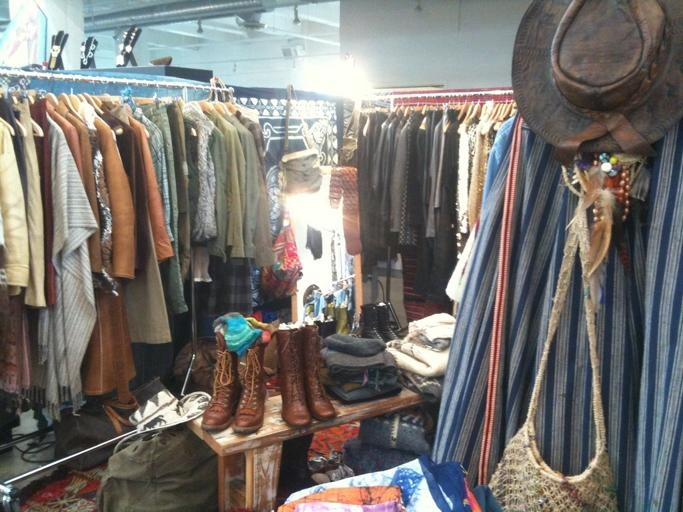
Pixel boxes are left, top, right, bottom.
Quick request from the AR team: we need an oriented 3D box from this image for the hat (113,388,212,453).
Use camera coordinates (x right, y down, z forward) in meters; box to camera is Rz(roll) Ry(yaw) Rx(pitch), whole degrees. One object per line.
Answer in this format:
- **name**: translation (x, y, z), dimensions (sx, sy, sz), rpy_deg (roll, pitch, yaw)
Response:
- **hat**: translation (-0.820, 0.721, 3.016), dimensions (0.433, 0.110, 0.412), rpy_deg (2, 23, 17)

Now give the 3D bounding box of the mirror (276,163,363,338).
- **mirror**: translation (-0.084, -0.043, 4.328), dimensions (0.483, 1.231, 0.100), rpy_deg (4, 23, 16)

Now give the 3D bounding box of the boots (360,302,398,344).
- **boots**: translation (0.210, 0.369, 3.730), dimensions (0.206, 0.211, 0.173), rpy_deg (-1, 2, 20)

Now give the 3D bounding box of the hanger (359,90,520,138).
- **hanger**: translation (0.615, -0.899, 4.282), dimensions (0.753, 0.193, 0.134), rpy_deg (5, 16, 45)

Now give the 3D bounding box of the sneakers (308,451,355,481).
- **sneakers**: translation (-0.050, 0.937, 3.045), dimensions (0.206, 0.136, 0.142), rpy_deg (-8, -2, 25)

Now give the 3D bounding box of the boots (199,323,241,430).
- **boots**: translation (-0.500, 0.535, 2.855), dimensions (0.144, 0.331, 0.390), rpy_deg (3, 11, 10)

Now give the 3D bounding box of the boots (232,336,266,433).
- **boots**: translation (-0.386, 0.555, 2.805), dimensions (0.134, 0.333, 0.362), rpy_deg (-4, 6, 3)

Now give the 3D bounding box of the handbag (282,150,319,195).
- **handbag**: translation (-0.264, -0.512, 4.111), dimensions (0.271, 0.271, 0.251), rpy_deg (-11, 18, -34)

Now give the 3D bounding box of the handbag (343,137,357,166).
- **handbag**: translation (0.071, -0.689, 4.453), dimensions (0.076, 0.177, 0.159), rpy_deg (5, 9, 30)
